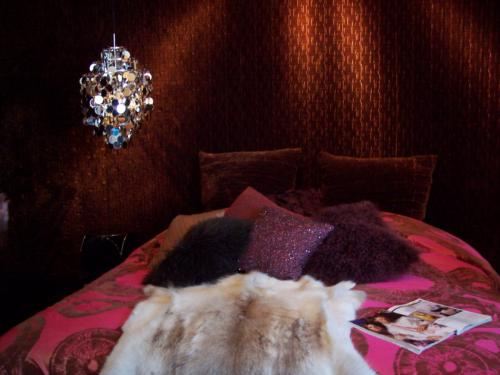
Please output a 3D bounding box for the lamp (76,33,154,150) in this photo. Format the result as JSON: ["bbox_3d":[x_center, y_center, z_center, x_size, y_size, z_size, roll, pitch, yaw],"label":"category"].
[{"bbox_3d":[-0.924,-0.667,2.962,0.429,0.799,0.444,-4,11,-19],"label":"lamp"}]
